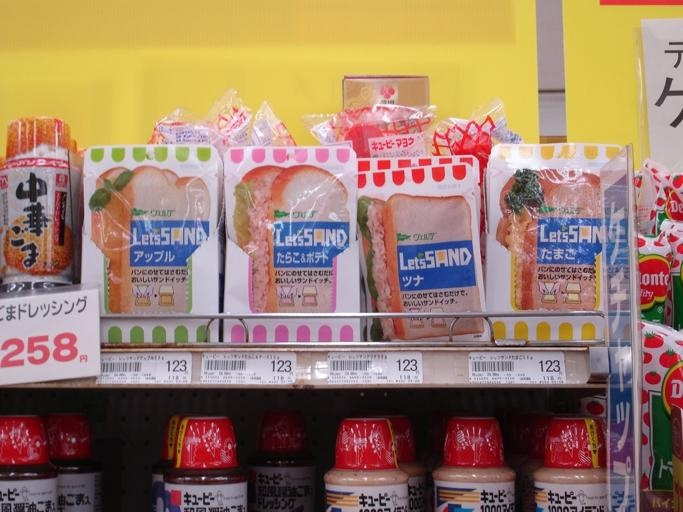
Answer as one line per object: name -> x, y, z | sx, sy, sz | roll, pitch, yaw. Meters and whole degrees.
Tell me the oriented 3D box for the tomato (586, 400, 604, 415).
tomato -> 0.675, 0.401, 2.161 | 0.025, 0.038, 0.076 | -2, -10, -5
